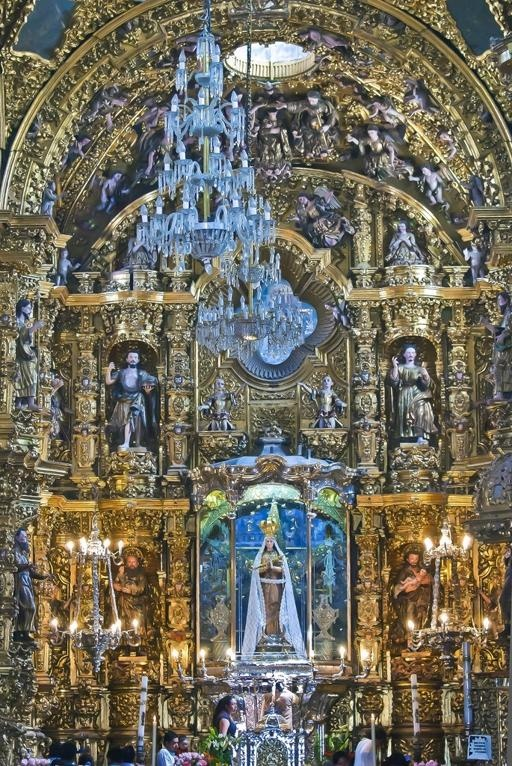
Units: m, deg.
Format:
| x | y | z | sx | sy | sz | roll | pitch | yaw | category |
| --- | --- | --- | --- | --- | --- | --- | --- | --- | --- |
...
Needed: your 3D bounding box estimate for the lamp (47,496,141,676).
| x | y | z | sx | sy | sz | roll | pitch | yaw | category |
| --- | --- | --- | --- | --- | --- | --- | --- | --- | --- |
| -2.287 | 2.947 | 34.421 | 1.274 | 2.452 | 2.099 | 0 | -12 | -4 | lamp |
